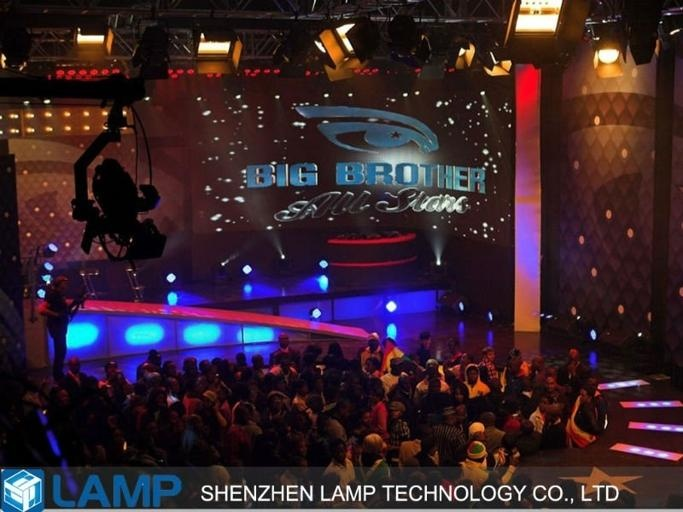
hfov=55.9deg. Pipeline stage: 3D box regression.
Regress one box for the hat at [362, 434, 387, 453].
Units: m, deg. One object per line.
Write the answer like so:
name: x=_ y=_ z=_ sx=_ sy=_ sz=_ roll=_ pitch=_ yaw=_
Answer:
hat: x=0.343 y=1.866 z=6.325 sx=0.221 sy=0.177 sz=0.215 roll=-3 pitch=11 yaw=-31

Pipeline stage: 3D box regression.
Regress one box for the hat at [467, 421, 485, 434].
hat: x=1.382 y=1.759 z=6.479 sx=0.160 sy=0.144 sz=0.110 roll=-4 pitch=8 yaw=-21

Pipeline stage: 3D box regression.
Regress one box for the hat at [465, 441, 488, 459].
hat: x=1.364 y=1.937 z=6.412 sx=0.195 sy=0.168 sz=0.116 roll=-1 pitch=8 yaw=0

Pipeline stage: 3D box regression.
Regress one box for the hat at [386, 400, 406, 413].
hat: x=0.608 y=1.633 z=6.935 sx=0.121 sy=0.053 sz=0.154 roll=4 pitch=0 yaw=-36
